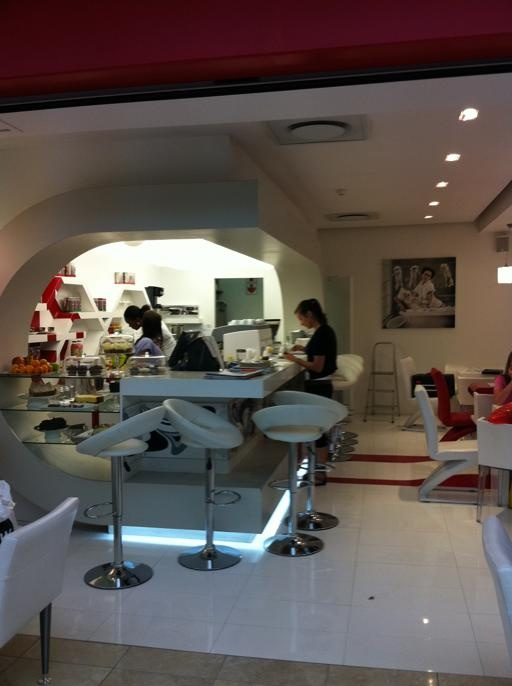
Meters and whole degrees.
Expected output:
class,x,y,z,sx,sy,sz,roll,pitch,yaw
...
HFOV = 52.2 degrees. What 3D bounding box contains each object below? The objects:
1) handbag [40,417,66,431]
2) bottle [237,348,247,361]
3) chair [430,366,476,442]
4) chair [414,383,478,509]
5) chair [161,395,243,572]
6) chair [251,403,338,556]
class,x,y,z,sx,sy,sz,roll,pitch,yaw
handbag,-1.479,0.593,3.803,0.149,0.045,0.106,-2,1,0
bottle,-0.112,0.110,4.195,0.091,0.112,0.069,1,2,17
chair,2.276,0.758,5.808,0.585,0.864,0.532,-3,-2,7
chair,1.713,0.894,4.541,0.580,0.876,0.472,0,-3,19
chair,-0.338,0.887,3.275,0.478,1.047,0.712,1,-1,12
chair,0.288,0.903,3.566,0.506,1.004,0.672,1,-1,21
